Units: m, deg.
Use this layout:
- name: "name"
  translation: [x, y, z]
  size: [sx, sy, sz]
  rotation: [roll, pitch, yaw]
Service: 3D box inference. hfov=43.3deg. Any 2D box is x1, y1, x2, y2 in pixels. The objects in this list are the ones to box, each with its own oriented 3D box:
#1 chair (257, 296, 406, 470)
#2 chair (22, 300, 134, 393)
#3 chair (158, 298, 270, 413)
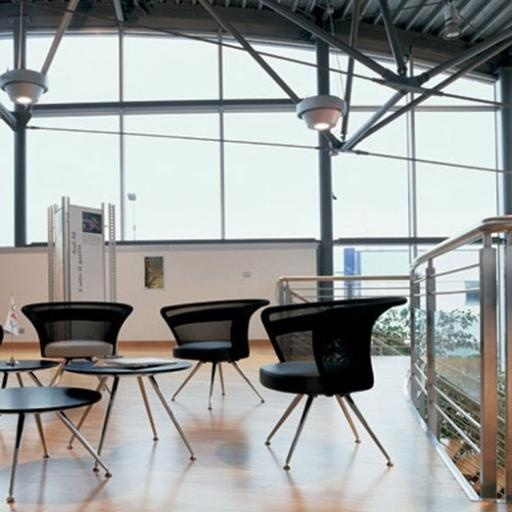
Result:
- name: "chair"
  translation: [0.424, 0.692, 3.690]
  size: [0.846, 0.915, 0.914]
  rotation: [0, -5, 4]
- name: "chair"
  translation: [-1.442, 0.690, 5.209]
  size: [0.793, 0.606, 0.503]
  rotation: [1, 0, -13]
- name: "chair"
  translation: [-0.293, 0.741, 4.945]
  size: [0.676, 0.812, 0.832]
  rotation: [-12, 10, -10]
